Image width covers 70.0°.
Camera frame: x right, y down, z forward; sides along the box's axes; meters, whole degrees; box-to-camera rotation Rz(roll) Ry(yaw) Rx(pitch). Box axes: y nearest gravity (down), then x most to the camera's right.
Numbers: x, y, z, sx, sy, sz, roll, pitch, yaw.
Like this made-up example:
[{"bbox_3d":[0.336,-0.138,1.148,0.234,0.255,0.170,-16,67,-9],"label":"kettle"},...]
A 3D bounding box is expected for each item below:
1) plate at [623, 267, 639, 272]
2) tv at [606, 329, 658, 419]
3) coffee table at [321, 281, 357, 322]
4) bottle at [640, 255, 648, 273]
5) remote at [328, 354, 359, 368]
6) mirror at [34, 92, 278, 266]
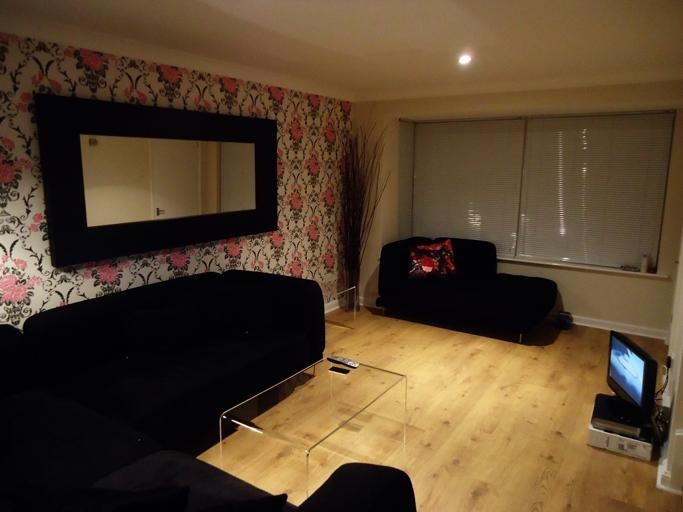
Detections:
[{"bbox_3d":[3.132,0.139,5.272,0.158,0.046,0.092,5,11,17],"label":"plate"},{"bbox_3d":[2.133,0.899,3.588,0.192,0.494,0.529,-2,9,9],"label":"tv"},{"bbox_3d":[0.027,0.553,6.016,0.411,0.450,0.436,0,5,25],"label":"coffee table"},{"bbox_3d":[3.236,0.080,5.195,0.079,0.187,0.098,8,13,32],"label":"bottle"},{"bbox_3d":[0.009,0.870,3.876,0.221,0.047,0.105,10,10,28],"label":"remote"},{"bbox_3d":[-1.561,-0.641,3.977,0.128,0.924,1.562,6,9,37],"label":"mirror"}]
